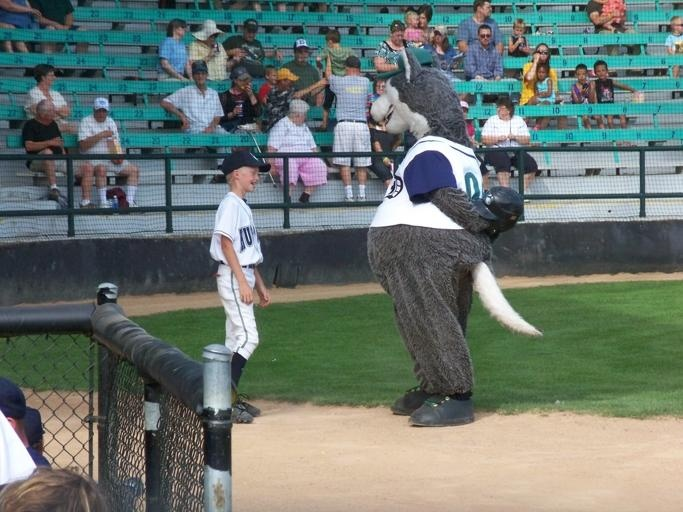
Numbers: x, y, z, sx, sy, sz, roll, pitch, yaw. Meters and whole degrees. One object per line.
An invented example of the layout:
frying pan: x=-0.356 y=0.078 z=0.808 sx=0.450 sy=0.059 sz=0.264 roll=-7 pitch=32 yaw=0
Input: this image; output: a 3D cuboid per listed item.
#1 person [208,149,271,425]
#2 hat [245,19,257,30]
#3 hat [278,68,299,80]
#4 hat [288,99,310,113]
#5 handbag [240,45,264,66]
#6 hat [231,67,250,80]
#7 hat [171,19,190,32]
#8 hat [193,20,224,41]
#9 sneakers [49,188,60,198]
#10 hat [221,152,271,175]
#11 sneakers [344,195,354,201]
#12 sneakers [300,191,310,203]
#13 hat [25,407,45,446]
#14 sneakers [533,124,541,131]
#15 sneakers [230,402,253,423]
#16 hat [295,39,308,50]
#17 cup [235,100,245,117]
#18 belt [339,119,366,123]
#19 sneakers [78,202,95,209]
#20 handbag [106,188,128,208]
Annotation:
person: x=-1.238 y=0.243 z=23.009 sx=0.646 sy=2.991 sz=0.922 roll=0 pitch=11 yaw=18
hat: x=-1.506 y=-3.853 z=31.318 sx=0.211 sy=0.167 sz=0.277 roll=-4 pitch=11 yaw=-2
hat: x=-0.871 y=-2.954 z=30.617 sx=0.270 sy=0.109 sz=0.169 roll=1 pitch=13 yaw=-13
hat: x=-0.674 y=-2.405 z=29.990 sx=0.191 sy=0.220 sz=0.256 roll=9 pitch=14 yaw=23
handbag: x=-1.461 y=-3.357 z=31.236 sx=0.362 sy=0.332 sz=0.170 roll=-4 pitch=11 yaw=-4
hat: x=-1.613 y=-2.927 z=30.093 sx=0.279 sy=0.206 sz=0.355 roll=-4 pitch=11 yaw=-4
hat: x=-2.647 y=-3.783 z=30.781 sx=0.209 sy=0.162 sz=0.159 roll=-3 pitch=16 yaw=0
hat: x=-2.227 y=-3.726 z=31.151 sx=0.351 sy=0.198 sz=0.430 roll=-4 pitch=3 yaw=-22
sneakers: x=-4.323 y=-0.957 z=28.399 sx=0.181 sy=0.174 sz=0.148 roll=-3 pitch=11 yaw=3
hat: x=-1.179 y=-1.152 z=23.173 sx=0.499 sy=0.253 sz=0.325 roll=-18 pitch=6 yaw=-2
sneakers: x=0.130 y=-0.925 z=29.801 sx=0.100 sy=0.089 sz=0.164 roll=1 pitch=8 yaw=5
sneakers: x=-0.569 y=-0.930 z=29.404 sx=0.155 sy=0.164 sz=0.165 roll=6 pitch=-3 yaw=-2
hat: x=-3.338 y=1.829 z=20.462 sx=0.257 sy=0.354 sz=0.128 roll=-1 pitch=-9 yaw=-15
sneakers: x=3.347 y=-2.210 z=32.263 sx=0.126 sy=0.115 sz=0.099 roll=-2 pitch=13 yaw=5
sneakers: x=-1.211 y=1.903 z=22.886 sx=0.163 sy=0.201 sz=0.450 roll=-5 pitch=-10 yaw=29
hat: x=-0.658 y=-3.472 z=30.913 sx=0.230 sy=0.157 sz=0.334 roll=-3 pitch=11 yaw=-1
cup: x=-1.636 y=-2.355 z=30.106 sx=0.149 sy=0.220 sz=0.073 roll=-4 pitch=11 yaw=-5
belt: x=0.198 y=-2.147 z=30.026 sx=0.411 sy=0.072 sz=0.093 roll=-5 pitch=11 yaw=-11
sneakers: x=-3.821 y=-0.779 z=28.348 sx=0.142 sy=0.085 sz=0.142 roll=0 pitch=-2 yaw=21
handbag: x=-3.379 y=-0.902 z=28.536 sx=0.273 sy=0.342 sz=0.099 roll=2 pitch=27 yaw=1
